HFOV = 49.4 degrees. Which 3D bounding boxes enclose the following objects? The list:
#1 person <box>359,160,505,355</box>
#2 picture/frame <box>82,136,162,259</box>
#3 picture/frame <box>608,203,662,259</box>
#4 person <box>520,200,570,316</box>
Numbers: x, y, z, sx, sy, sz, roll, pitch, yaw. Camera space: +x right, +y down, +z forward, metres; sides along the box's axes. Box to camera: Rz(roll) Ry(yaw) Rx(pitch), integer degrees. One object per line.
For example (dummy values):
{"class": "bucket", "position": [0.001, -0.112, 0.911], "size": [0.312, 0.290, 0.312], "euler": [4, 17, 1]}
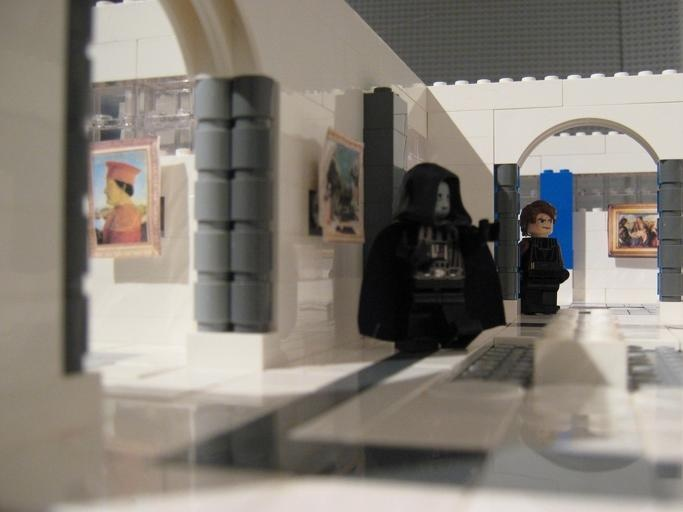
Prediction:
{"class": "person", "position": [0.674, 0.028, 5.618], "size": [1.089, 1.434, 0.356], "euler": [-1, 2, -21]}
{"class": "picture/frame", "position": [-1.748, -0.460, 6.011], "size": [0.738, 0.941, 0.167], "euler": [1, 2, 22]}
{"class": "picture/frame", "position": [4.232, -0.328, 10.842], "size": [0.785, 0.826, 0.090], "euler": [1, -17, 1]}
{"class": "person", "position": [2.276, 0.020, 8.423], "size": [0.510, 1.274, 0.540], "euler": [0, 2, 13]}
